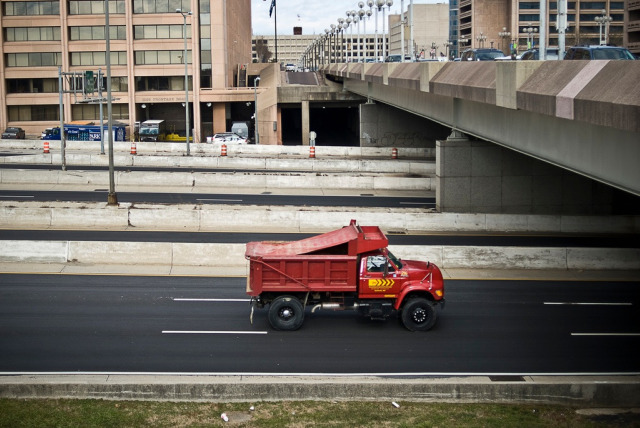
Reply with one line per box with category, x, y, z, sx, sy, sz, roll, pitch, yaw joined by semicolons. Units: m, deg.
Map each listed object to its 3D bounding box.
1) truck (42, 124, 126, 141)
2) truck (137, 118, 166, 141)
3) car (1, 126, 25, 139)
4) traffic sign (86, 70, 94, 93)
truck;-23.836;-8.278;147.872;8.941;1.899;2.759;-2;-14;6
truck;-18.577;-9.233;161.476;1.797;1.490;3.099;2;10;3
car;-34.129;-8.945;161.153;1.591;1.212;5.660;-1;6;0
traffic sign;-20.892;-11.968;131.478;0.751;1.992;1.405;-2;6;-11
